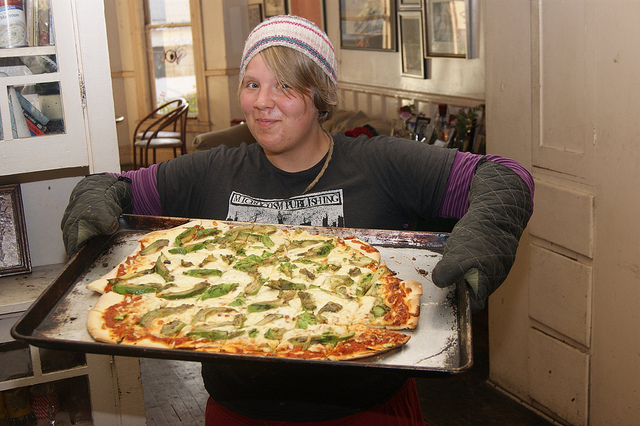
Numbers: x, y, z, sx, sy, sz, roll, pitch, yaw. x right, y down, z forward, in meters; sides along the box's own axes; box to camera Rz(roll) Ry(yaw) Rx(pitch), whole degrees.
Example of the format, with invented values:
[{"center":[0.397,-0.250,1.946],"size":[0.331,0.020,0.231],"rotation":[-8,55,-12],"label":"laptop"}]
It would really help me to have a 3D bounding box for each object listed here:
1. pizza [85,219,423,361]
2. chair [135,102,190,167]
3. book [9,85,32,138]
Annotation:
[{"center":[-0.220,0.211,1.495],"size":[1.098,0.252,0.633],"rotation":[0,14,8],"label":"pizza"},{"center":[-2.629,-1.214,7.669],"size":[0.984,1.122,0.953],"rotation":[-7,16,-22],"label":"chair"},{"center":[-1.325,-0.450,1.999],"size":[0.049,0.218,0.015],"rotation":[-10,16,-28],"label":"book"}]
